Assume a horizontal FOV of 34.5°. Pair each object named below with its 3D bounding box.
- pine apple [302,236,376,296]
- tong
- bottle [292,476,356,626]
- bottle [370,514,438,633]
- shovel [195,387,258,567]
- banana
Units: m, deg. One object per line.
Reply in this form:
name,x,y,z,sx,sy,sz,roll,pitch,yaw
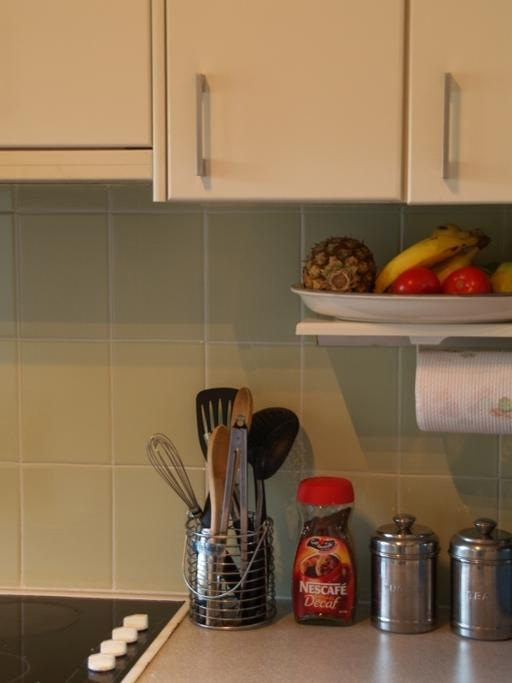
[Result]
pine apple,0.110,-0.095,1.079,0.090,0.078,0.068,-3,11,-4
tong,-0.036,0.248,1.153,0.109,0.258,0.070,0,0,4
bottle,0.097,0.300,1.221,0.095,0.202,0.136,-1,4,2
bottle,0.209,0.330,1.155,0.101,0.153,0.089,0,8,12
shovel,-0.041,0.184,1.161,0.103,0.247,0.069,0,0,4
banana,0.237,-0.116,1.110,0.158,0.093,0.119,0,12,8
